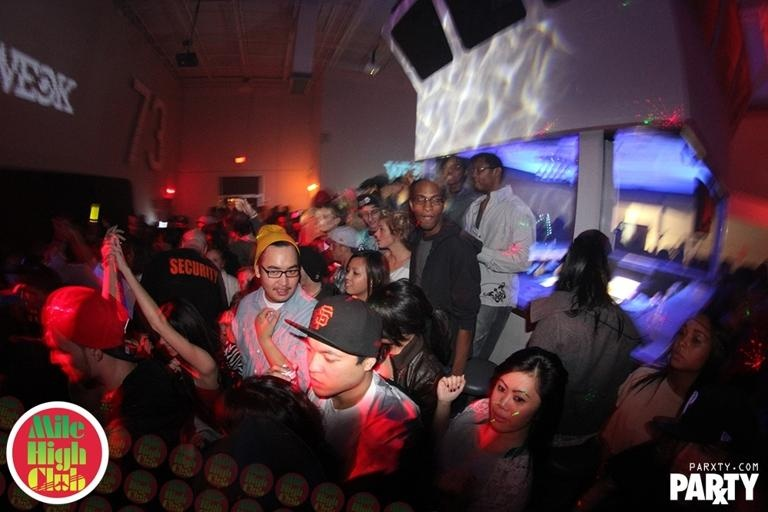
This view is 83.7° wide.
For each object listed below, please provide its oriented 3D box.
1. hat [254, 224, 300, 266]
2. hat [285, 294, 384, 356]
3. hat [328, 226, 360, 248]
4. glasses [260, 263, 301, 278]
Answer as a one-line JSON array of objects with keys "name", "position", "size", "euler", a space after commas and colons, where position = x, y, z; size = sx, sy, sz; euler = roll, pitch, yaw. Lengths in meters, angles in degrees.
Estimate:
[{"name": "hat", "position": [-0.754, -0.064, 2.922], "size": [0.235, 0.300, 0.259], "euler": [2, 5, -28]}, {"name": "hat", "position": [-0.277, 0.393, 2.521], "size": [0.444, 0.220, 0.296], "euler": [27, 3, -20]}, {"name": "hat", "position": [-0.364, -0.192, 3.785], "size": [0.239, 0.121, 0.169], "euler": [26, 29, 10]}, {"name": "glasses", "position": [-0.694, 0.096, 2.840], "size": [0.248, 0.096, 0.065], "euler": [3, 4, -13]}]
